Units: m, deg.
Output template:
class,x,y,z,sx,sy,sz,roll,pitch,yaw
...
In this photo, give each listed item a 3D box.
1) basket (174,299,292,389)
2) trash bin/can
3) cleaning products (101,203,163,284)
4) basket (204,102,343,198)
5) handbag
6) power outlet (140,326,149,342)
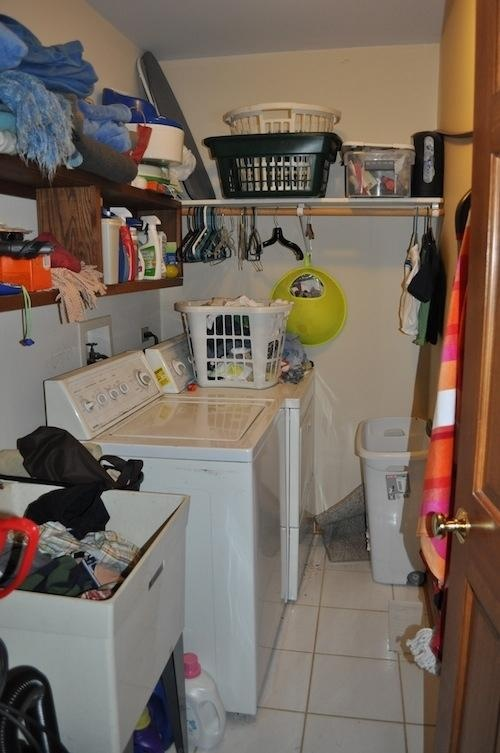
class,x,y,z,sx,sy,sz,roll,pitch,yaw
basket,-0.045,-0.186,2.121,0.399,0.377,0.382,2,13,15
trash bin/can,0.638,0.557,2.411,0.311,0.672,0.406,1,8,18
cleaning products,-0.422,-0.468,1.910,0.182,0.362,0.191,-6,22,-31
basket,0.155,-0.918,2.371,0.680,0.353,0.557,2,13,13
handbag,-0.409,0.204,1.285,0.303,0.102,0.223,13,-1,13
power outlet,-0.480,-0.190,2.396,0.034,0.067,0.066,3,10,7
